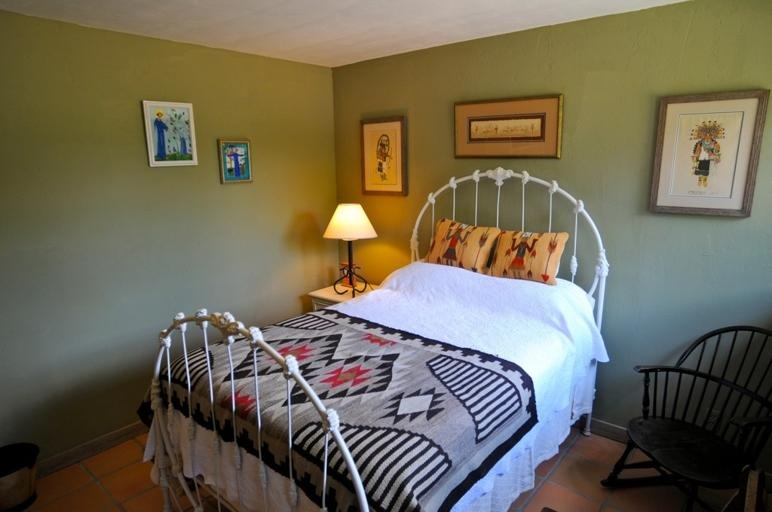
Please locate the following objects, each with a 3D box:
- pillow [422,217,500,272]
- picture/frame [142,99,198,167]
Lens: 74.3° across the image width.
[{"bbox_3d":[0.617,-0.091,4.187,0.156,0.413,0.567,27,-7,-40],"label":"pillow"},{"bbox_3d":[-1.743,-1.000,4.060,0.041,0.579,0.467,15,26,41],"label":"picture/frame"}]
